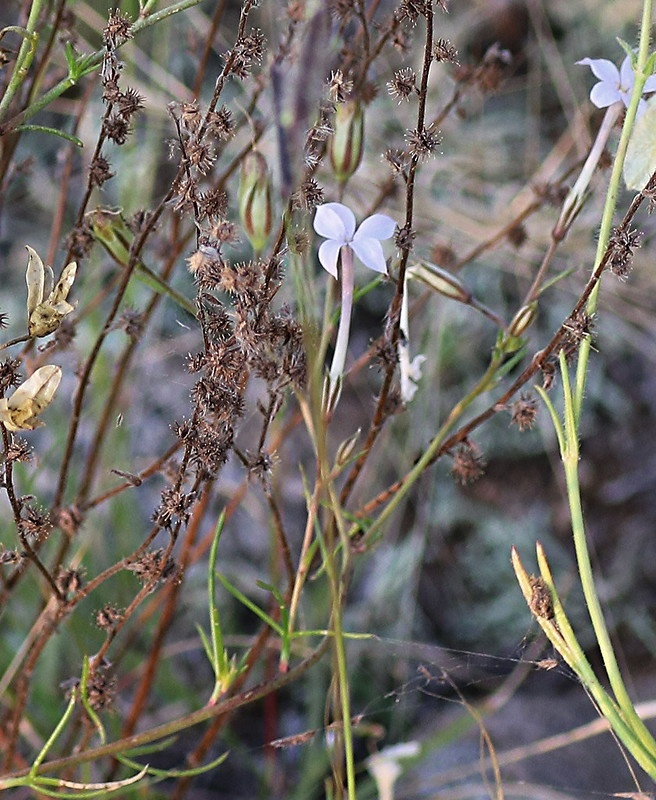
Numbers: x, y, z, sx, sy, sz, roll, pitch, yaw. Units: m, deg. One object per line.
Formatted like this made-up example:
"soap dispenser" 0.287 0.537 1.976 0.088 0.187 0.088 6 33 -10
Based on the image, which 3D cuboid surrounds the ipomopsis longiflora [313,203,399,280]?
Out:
"ipomopsis longiflora" 0.012 -0.092 0.583 0.051 0.054 0.011 1 -66 -4
